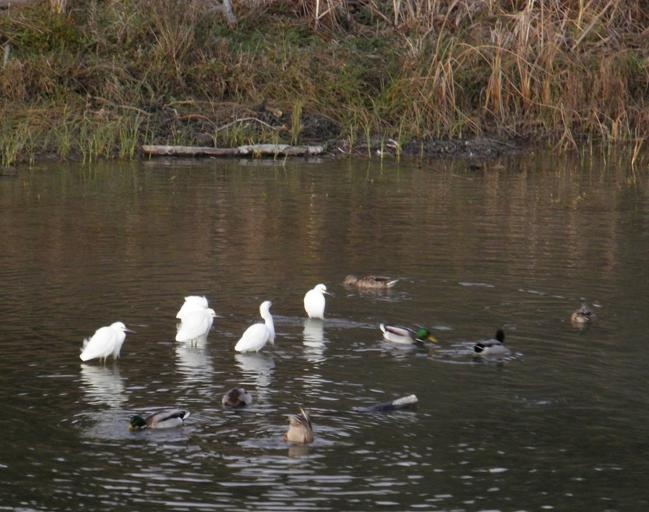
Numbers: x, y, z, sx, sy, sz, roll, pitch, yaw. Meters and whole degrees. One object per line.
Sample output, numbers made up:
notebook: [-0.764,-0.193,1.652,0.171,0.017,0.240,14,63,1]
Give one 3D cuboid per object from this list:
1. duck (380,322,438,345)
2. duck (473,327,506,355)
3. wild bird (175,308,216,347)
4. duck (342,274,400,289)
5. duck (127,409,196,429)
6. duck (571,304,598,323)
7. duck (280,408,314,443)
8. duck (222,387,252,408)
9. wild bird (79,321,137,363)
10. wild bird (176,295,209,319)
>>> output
duck: [1.106,1.047,12.393,0.798,0.245,0.258,10,17,20]
duck: [2.165,1.138,12.034,0.267,0.238,0.535,8,15,40]
wild bird: [-1.740,0.959,12.266,0.509,0.457,0.584,1,10,13]
duck: [0.713,0.421,14.668,0.883,0.250,0.261,1,-3,24]
duck: [-1.749,1.745,9.953,0.699,0.205,0.211,-10,13,-11]
duck: [3.662,0.850,13.163,0.345,0.232,0.318,2,10,20]
duck: [-0.271,1.768,9.643,0.308,0.388,0.310,-2,11,-1]
duck: [-0.985,1.611,10.442,0.344,0.197,0.243,-3,10,-9]
wild bird: [-2.732,1.112,11.734,0.759,0.427,0.354,-10,1,7]
wild bird: [-1.818,0.738,12.723,0.462,0.161,0.365,4,23,-19]
